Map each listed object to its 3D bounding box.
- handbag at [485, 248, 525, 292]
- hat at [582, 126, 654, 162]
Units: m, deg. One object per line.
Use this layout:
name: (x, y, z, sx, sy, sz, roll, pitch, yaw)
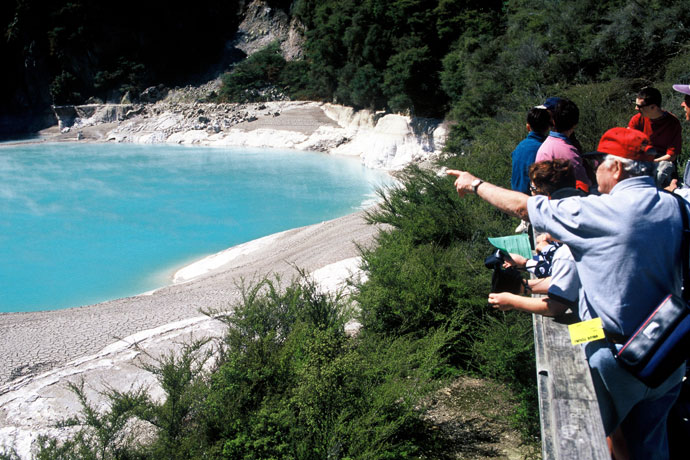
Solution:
handbag: (1.758, 0.446, 5.511, 0.345, 0.496, 0.362, -9, 3, -34)
hat: (2.493, -0.800, 4.719, 0.579, 0.295, 0.396, 10, 15, 41)
